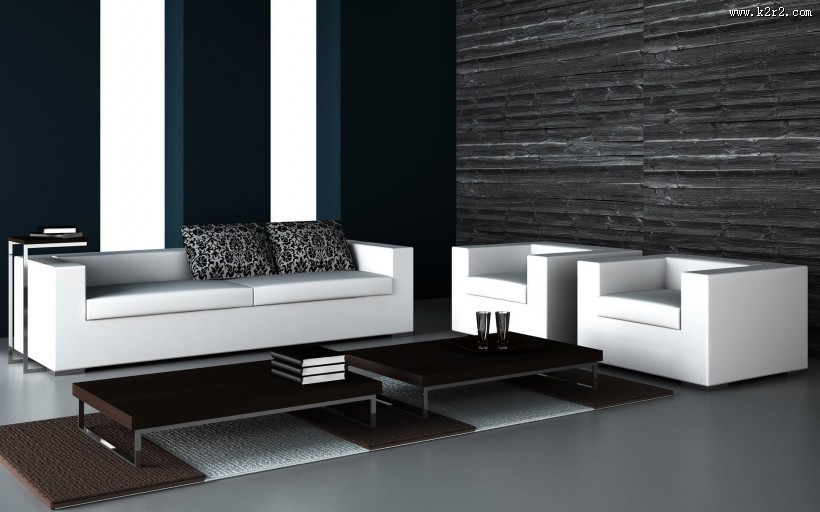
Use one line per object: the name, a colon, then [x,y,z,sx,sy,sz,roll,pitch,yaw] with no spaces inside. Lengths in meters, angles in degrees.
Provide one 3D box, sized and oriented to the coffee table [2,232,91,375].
coffee table: [-3.150,0.332,4.936,0.633,1.117,0.753,-3,9,-24]
